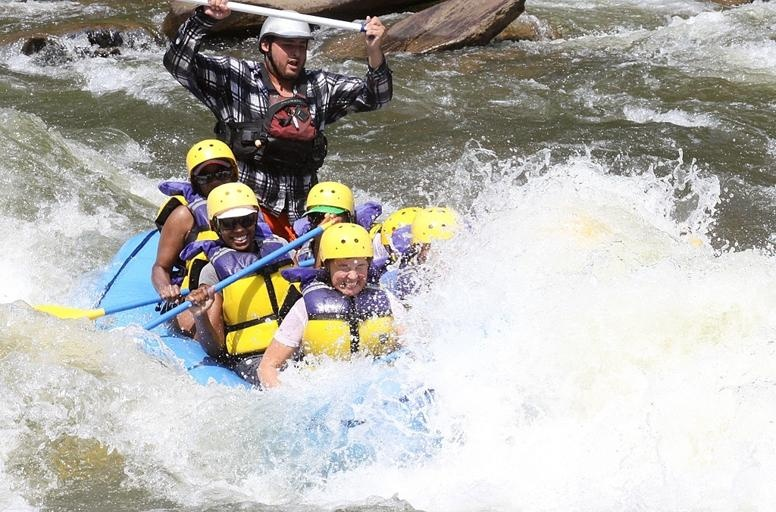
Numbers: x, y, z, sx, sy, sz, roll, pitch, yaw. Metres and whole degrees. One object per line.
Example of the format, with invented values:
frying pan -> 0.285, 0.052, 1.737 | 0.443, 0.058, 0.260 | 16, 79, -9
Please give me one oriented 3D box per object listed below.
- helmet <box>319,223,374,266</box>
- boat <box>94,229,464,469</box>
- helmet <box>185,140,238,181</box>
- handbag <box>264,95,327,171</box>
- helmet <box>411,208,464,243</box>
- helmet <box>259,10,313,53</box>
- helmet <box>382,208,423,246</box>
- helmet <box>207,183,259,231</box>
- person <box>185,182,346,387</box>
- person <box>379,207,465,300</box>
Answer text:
helmet -> -0.408, -0.113, 10.869 | 0.361, 0.455, 0.331 | -2, 81, -23
boat -> -1.246, 1.191, 11.203 | 3.540, 0.590, 1.786 | 27, 58, 25
helmet -> -1.845, -1.044, 11.684 | 0.373, 0.433, 0.350 | -8, 18, -9
handbag -> -0.971, -1.270, 11.730 | 0.617, 0.676, 0.575 | -4, 60, 1
helmet -> 0.533, -0.347, 11.762 | 0.487, 0.338, 0.342 | -13, 93, 21
helmet -> -1.062, -2.330, 11.504 | 0.561, 0.451, 0.284 | 7, 61, 7
helmet -> 0.099, -0.396, 12.189 | 0.336, 0.434, 0.338 | -17, 55, -43
helmet -> -1.570, -0.507, 11.281 | 0.361, 0.458, 0.336 | -12, 74, -24
person -> -1.496, 0.309, 11.170 | 1.402, 0.759, 1.844 | -16, 65, -19
person -> 0.254, -0.010, 12.010 | 0.684, 1.131, 0.562 | 12, 75, -22
